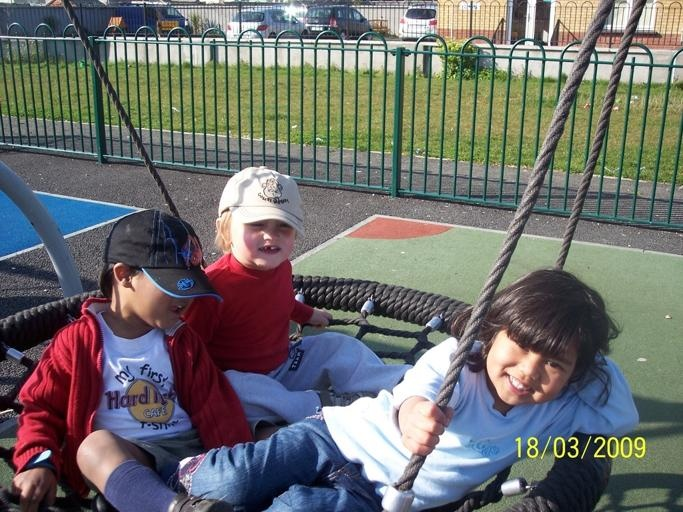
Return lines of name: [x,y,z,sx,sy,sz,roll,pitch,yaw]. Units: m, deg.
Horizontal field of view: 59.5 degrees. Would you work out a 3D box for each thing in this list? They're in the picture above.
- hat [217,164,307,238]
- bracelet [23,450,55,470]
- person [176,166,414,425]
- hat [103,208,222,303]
hat: [-0.338,-0.280,2.605,0.252,0.228,0.351,14,5,-32]
bracelet: [-1.013,0.676,2.007,0.052,0.015,0.065,2,44,-3]
person: [-0.286,0.084,3.004,1.049,1.316,0.872,3,12,29]
hat: [-0.681,-0.031,2.298,0.402,0.250,0.294,26,9,3]
